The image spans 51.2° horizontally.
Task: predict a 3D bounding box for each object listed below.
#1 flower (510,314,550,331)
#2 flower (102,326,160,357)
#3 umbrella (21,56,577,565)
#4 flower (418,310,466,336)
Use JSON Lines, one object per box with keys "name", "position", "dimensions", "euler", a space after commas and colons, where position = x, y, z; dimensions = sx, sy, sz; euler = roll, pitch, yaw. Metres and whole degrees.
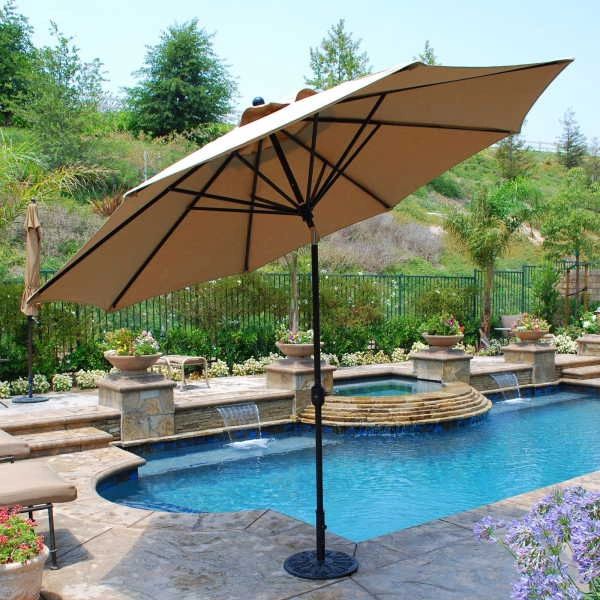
{"name": "flower", "position": [5.540, 0.578, 15.129], "dimensions": [0.541, 0.271, 0.520], "euler": [0, -7, 4]}
{"name": "flower", "position": [-2.452, 0.624, 9.030], "dimensions": [0.604, 0.311, 0.517], "euler": [5, -1, 8]}
{"name": "umbrella", "position": [0.001, 0.242, 3.915], "dimensions": [2.846, 2.905, 2.310], "euler": [-2, -6, 19]}
{"name": "flower", "position": [3.009, 0.572, 13.649], "dimensions": [0.919, 0.489, 0.899], "euler": [0, -4, -4]}
